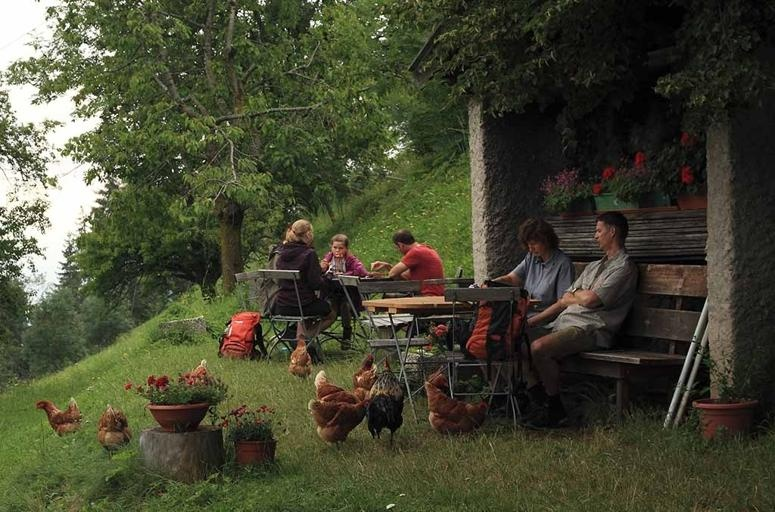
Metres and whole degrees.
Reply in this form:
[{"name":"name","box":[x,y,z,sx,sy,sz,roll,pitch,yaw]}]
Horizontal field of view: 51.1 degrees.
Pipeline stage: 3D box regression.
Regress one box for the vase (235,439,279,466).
[{"name":"vase","box":[-1.520,2.253,9.320,0.305,0.184,0.324,-2,-9,7]}]

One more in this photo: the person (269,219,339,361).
[{"name":"person","box":[-1.435,0.566,13.568,1.072,2.259,0.780,0,0,-27]}]

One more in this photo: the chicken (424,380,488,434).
[{"name":"chicken","box":[0.826,1.804,9.737,0.694,0.673,0.239,-4,11,2]}]

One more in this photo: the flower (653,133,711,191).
[{"name":"flower","box":[3.822,-1.195,10.643,0.233,0.790,0.717,-14,14,-42]}]

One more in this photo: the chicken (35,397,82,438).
[{"name":"chicken","box":[-4.633,2.261,11.395,0.527,0.686,0.597,-9,12,-25]}]

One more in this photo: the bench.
[{"name":"bench","box":[3.181,1.007,9.845,1.334,1.647,1.422,0,11,24]}]

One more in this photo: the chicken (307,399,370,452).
[{"name":"chicken","box":[-0.573,1.925,9.565,0.664,0.592,0.187,-6,11,-7]}]

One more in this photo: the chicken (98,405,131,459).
[{"name":"chicken","box":[-3.240,2.148,9.952,0.469,0.307,0.293,-31,-25,10]}]

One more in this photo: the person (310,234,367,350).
[{"name":"person","box":[-0.785,0.588,14.185,0.552,2.081,0.860,0,-1,40]}]

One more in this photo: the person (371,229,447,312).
[{"name":"person","box":[0.435,0.106,12.845,1.264,1.843,0.852,1,4,26]}]

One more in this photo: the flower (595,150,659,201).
[{"name":"flower","box":[3.340,-1.071,11.223,0.319,0.674,1.017,-10,11,-26]}]

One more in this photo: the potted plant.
[{"name":"potted plant","box":[3.871,1.655,9.292,0.819,1.210,0.625,2,0,0]}]

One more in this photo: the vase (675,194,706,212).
[{"name":"vase","box":[3.891,-0.663,10.340,0.269,0.106,0.203,-8,-6,44]}]

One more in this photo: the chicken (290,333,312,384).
[{"name":"chicken","box":[-1.441,1.599,12.587,0.272,0.513,0.619,-2,8,-11]}]

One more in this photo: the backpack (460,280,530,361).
[{"name":"backpack","box":[1.317,0.821,9.886,0.679,0.951,0.502,15,-8,31]}]
